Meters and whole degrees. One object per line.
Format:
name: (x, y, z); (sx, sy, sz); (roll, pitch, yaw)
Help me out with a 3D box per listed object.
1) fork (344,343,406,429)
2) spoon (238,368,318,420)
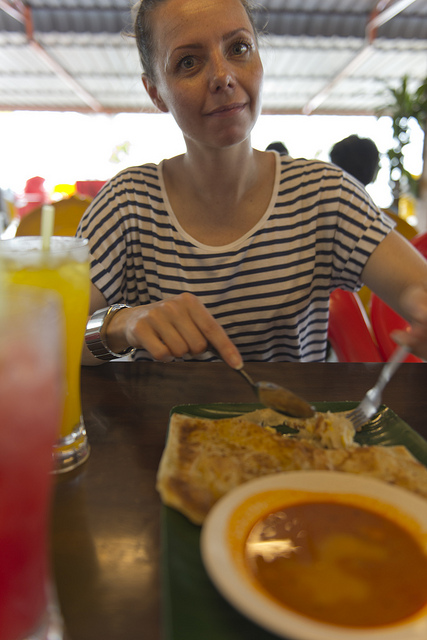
fork: (0.275, 0.088, 0.830); (0.039, 0.041, 0.292); (26, 36, 19)
spoon: (0.080, 0.105, 0.743); (0.043, 0.024, 0.170); (25, 6, -26)
